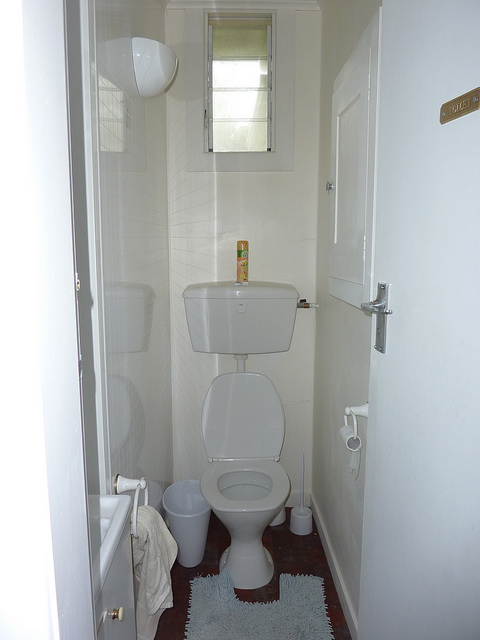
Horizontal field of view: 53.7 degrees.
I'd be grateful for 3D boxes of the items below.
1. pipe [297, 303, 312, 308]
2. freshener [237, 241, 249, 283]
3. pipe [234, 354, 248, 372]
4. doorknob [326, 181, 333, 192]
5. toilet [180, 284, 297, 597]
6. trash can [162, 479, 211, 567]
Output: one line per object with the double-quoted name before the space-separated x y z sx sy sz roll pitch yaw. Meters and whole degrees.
"pipe" 0.290 -0.064 2.145 0.065 0.022 0.062 0 5 6
"freshener" 0.022 -0.252 2.076 0.043 0.175 0.149 1 5 16
"pipe" 0.000 0.184 2.085 0.048 0.091 0.170 -1 5 -1
"doorknob" 0.337 -0.505 1.805 0.012 0.030 0.063 3 51 -1
"toilet" 0.001 0.417 1.951 0.453 1.099 0.683 0 5 7
"trash can" -0.221 0.826 1.938 0.185 0.280 0.277 -1 5 -9
